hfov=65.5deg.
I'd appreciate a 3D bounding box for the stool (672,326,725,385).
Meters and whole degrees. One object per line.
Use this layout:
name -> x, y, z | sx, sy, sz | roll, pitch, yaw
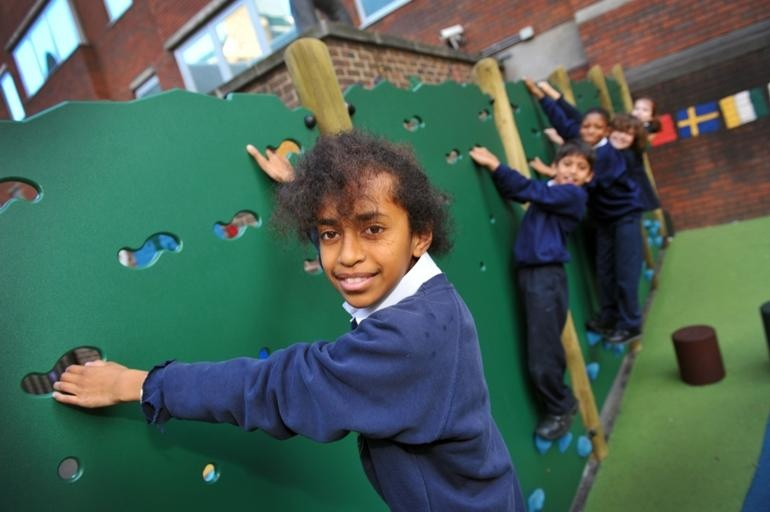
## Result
stool -> 2.562, 0.828, 4.893 | 0.483, 0.408, 0.500 | -10, 5, 29
